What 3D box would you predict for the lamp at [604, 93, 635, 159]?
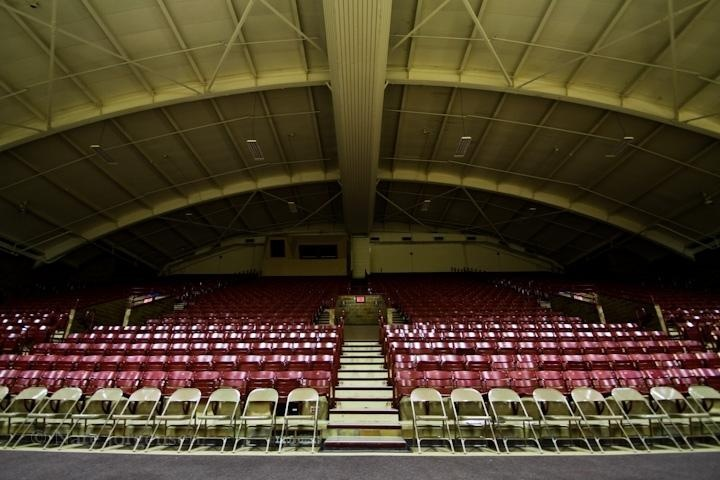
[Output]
[{"bbox_3d":[11.009,-4.283,14.662,1.993,1.639,0.458,-13,15,-25],"label":"lamp"}]
